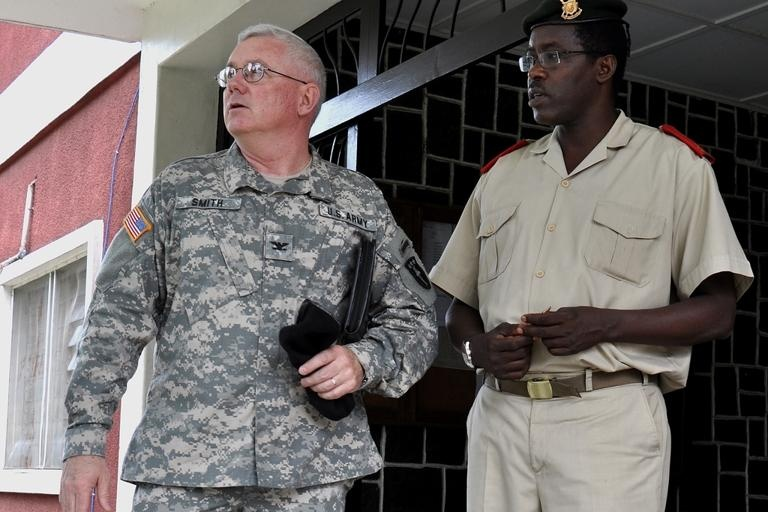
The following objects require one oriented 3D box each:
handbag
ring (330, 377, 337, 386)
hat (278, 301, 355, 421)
[{"bbox_3d":[-0.080,0.117,2.903,0.107,0.389,0.083,-5,-18,45],"label":"handbag"},{"bbox_3d":[-0.157,0.389,2.680,0.005,0.019,0.021,4,31,44],"label":"ring"},{"bbox_3d":[-0.205,0.327,2.712,0.140,0.359,0.236,-10,-20,28],"label":"hat"}]
